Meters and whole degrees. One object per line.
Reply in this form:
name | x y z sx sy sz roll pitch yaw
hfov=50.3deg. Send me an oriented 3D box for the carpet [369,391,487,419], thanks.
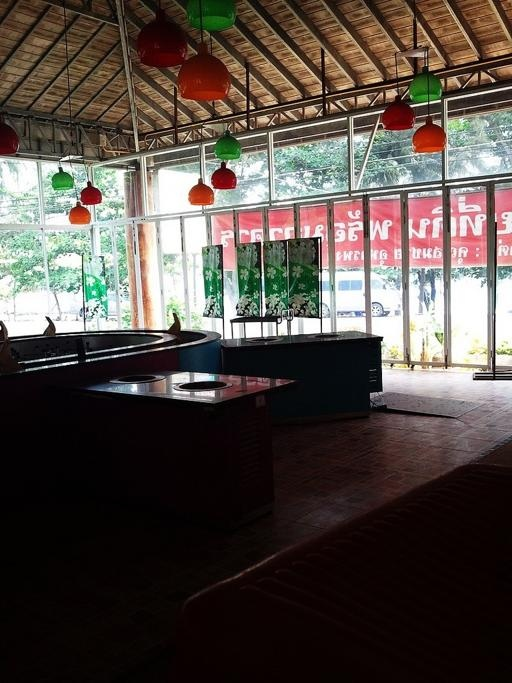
carpet | 2.179 0.851 7.199 1.388 0.305 1.223 5 1 29
